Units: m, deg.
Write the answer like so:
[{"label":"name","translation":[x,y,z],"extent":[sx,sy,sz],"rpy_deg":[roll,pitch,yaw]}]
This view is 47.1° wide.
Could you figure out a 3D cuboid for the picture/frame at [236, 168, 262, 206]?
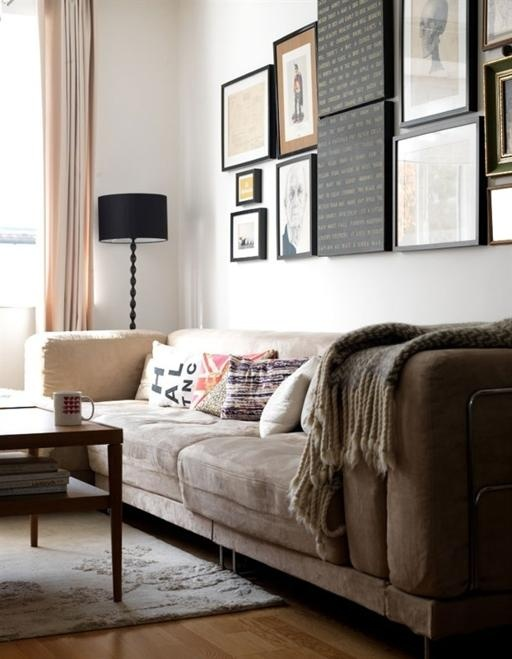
[{"label":"picture/frame","translation":[-0.034,-0.888,3.661],"extent":[0.060,0.257,0.222],"rpy_deg":[1,-3,-26]}]

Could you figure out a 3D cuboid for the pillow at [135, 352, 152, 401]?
[{"label":"pillow","translation":[-0.646,0.285,3.454],"extent":[0.054,0.215,0.187],"rpy_deg":[8,-11,-3]}]

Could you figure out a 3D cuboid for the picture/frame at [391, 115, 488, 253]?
[{"label":"picture/frame","translation":[0.746,-0.581,2.340],"extent":[0.045,0.569,0.463],"rpy_deg":[-2,11,-19]}]

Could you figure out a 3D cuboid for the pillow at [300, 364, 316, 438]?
[{"label":"pillow","translation":[0.183,0.270,2.039],"extent":[0.042,0.205,0.173],"rpy_deg":[6,11,-3]}]

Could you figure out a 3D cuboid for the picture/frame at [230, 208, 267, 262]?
[{"label":"picture/frame","translation":[-0.033,-0.592,3.657],"extent":[0.047,0.342,0.304],"rpy_deg":[1,-2,-25]}]

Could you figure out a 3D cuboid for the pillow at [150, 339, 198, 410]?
[{"label":"pillow","translation":[-0.438,0.244,3.159],"extent":[0.080,0.325,0.281],"rpy_deg":[10,-3,-34]}]

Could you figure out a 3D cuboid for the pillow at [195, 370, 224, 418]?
[{"label":"pillow","translation":[-0.200,0.313,2.803],"extent":[0.042,0.164,0.154],"rpy_deg":[22,-18,-10]}]

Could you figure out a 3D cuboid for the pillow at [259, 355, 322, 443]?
[{"label":"pillow","translation":[0.121,0.259,2.237],"extent":[0.072,0.288,0.271],"rpy_deg":[15,-16,-3]}]

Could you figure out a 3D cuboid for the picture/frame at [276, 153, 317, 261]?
[{"label":"picture/frame","translation":[0.223,-0.670,3.239],"extent":[0.072,0.583,0.421],"rpy_deg":[4,-7,-29]}]

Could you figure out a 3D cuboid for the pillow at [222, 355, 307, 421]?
[{"label":"pillow","translation":[0.002,0.254,2.583],"extent":[0.082,0.324,0.276],"rpy_deg":[17,-12,-36]}]

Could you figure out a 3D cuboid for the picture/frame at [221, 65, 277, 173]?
[{"label":"picture/frame","translation":[-0.030,-1.308,3.655],"extent":[0.079,0.815,0.652],"rpy_deg":[-1,-4,-24]}]

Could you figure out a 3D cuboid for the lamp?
[{"label":"lamp","translation":[-0.876,-0.475,4.099],"extent":[0.450,0.918,0.566],"rpy_deg":[3,-6,-22]}]
